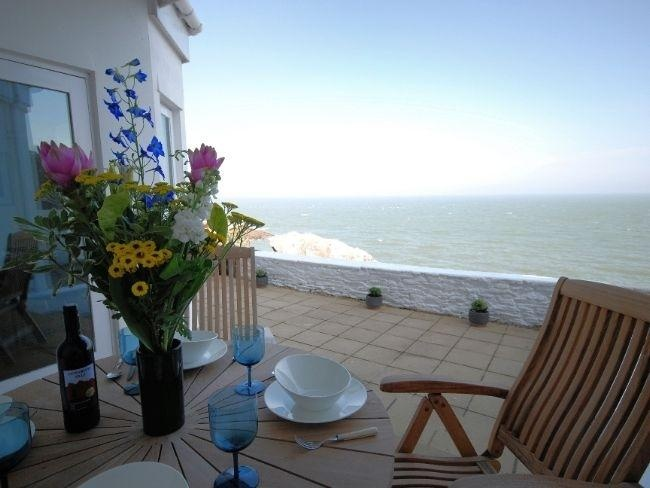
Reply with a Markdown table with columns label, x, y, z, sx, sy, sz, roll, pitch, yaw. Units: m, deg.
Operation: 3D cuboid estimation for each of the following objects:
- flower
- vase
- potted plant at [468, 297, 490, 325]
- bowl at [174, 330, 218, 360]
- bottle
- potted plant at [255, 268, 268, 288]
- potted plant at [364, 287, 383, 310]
| label | x | y | z | sx | sy | sz | roll | pitch | yaw |
| --- | --- | --- | --- | --- | --- | --- | --- | --- | --- |
| flower | -0.745 | -0.169 | 1.500 | 0.628 | 0.930 | 1.058 | -7 | 12 | -38 |
| vase | -0.503 | 0.462 | 1.317 | 0.156 | 0.270 | 0.156 | 3 | 6 | -11 |
| potted plant | 1.607 | 0.716 | 4.335 | 0.259 | 0.324 | 0.244 | 1 | -1 | -1 |
| bowl | -0.525 | 0.410 | 1.735 | 0.120 | 0.042 | 0.122 | 4 | 8 | -1 |
| bottle | -0.788 | 0.413 | 1.383 | 0.152 | 0.392 | 0.164 | 3 | 9 | -1 |
| potted plant | -0.935 | 0.516 | 6.061 | 0.244 | 0.277 | 0.226 | 2 | 3 | 41 |
| potted plant | 0.592 | 0.661 | 4.917 | 0.242 | 0.317 | 0.225 | 0 | 0 | -1 |
